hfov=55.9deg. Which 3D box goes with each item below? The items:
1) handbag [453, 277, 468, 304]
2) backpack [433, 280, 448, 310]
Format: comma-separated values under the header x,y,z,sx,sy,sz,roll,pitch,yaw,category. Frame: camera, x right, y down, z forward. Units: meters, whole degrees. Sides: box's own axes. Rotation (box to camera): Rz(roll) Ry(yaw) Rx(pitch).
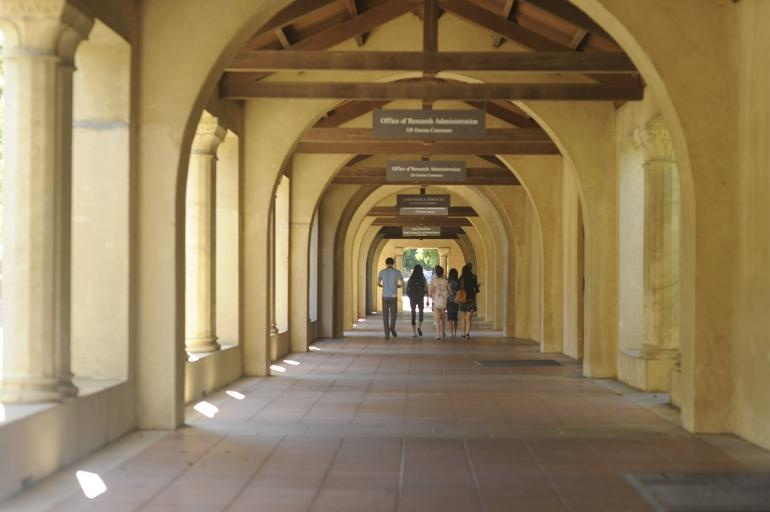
x,y,z,sx,sy,sz,roll,pitch,yaw,category
1.847,0.869,17.695,0.284,0.606,0.432,2,0,-17,handbag
1.333,0.908,17.519,0.370,0.709,0.347,2,0,4,backpack
